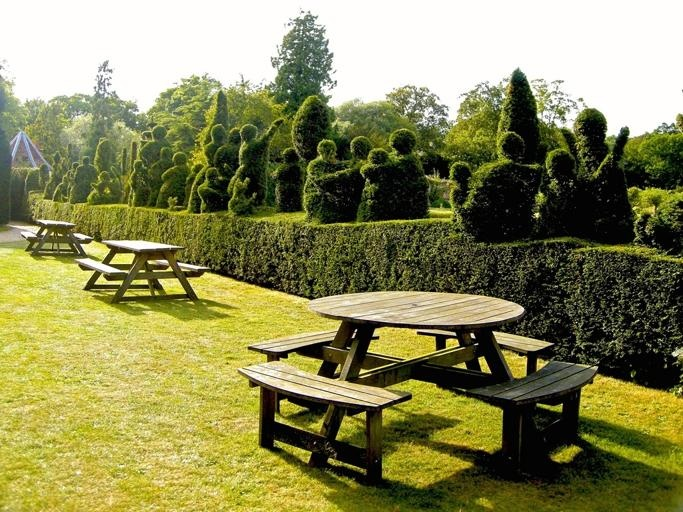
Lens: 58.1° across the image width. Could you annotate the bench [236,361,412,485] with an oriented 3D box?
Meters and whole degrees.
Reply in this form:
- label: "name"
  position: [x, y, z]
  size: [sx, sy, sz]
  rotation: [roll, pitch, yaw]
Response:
- label: "bench"
  position: [-0.209, 1.525, 5.622]
  size: [1.515, 0.749, 0.606]
  rotation: [3, 2, 36]
